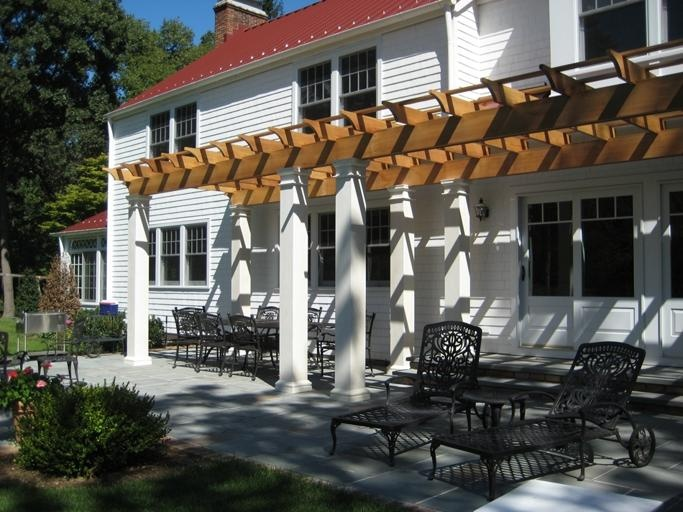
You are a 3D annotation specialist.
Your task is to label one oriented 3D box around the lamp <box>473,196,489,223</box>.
[{"bbox_3d":[2.427,-0.815,11.544,0.258,0.417,0.181,0,-7,19],"label":"lamp"}]
